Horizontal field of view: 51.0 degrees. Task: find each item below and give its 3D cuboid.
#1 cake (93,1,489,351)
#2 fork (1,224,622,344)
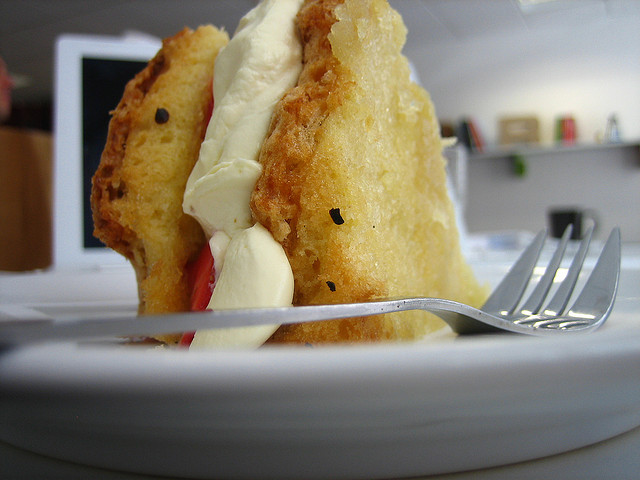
[{"bbox_3d":[-0.009,-0.046,0.485,0.217,0.300,0.106,3,-13,-30],"label":"cake"},{"bbox_3d":[0.003,0.032,0.483,0.508,0.087,0.089,0,-3,-18],"label":"fork"}]
